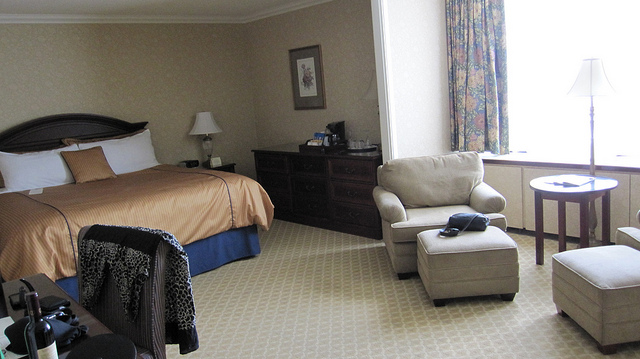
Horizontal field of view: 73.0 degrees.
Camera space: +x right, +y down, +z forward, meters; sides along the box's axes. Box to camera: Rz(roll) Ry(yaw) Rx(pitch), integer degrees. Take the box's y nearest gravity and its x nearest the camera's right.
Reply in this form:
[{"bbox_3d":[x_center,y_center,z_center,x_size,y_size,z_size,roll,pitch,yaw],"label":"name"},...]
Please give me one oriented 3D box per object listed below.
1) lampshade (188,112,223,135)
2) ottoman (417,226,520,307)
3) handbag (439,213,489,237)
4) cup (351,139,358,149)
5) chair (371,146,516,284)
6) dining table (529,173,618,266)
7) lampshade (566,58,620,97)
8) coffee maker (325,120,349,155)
[{"bbox_3d":[-1.885,-0.954,7.123,0.430,0.264,0.411,-5,8,-20],"label":"lampshade"},{"bbox_3d":[1.646,0.784,5.073,1.027,0.814,1.285,-4,22,11],"label":"ottoman"},{"bbox_3d":[1.556,0.472,4.672,0.391,0.129,0.276,-7,4,-9],"label":"handbag"},{"bbox_3d":[0.496,-0.538,6.271,0.092,0.111,0.075,1,17,25],"label":"cup"},{"bbox_3d":[1.467,0.347,5.295,1.544,1.026,1.050,-6,22,-3],"label":"chair"},{"bbox_3d":[2.878,0.471,4.940,0.865,1.011,0.570,-1,16,19],"label":"dining table"},{"bbox_3d":[2.973,-1.097,4.758,0.462,0.403,0.447,-1,7,18],"label":"lampshade"},{"bbox_3d":[0.211,-0.674,6.583,0.358,0.438,0.483,3,9,28],"label":"coffee maker"}]
